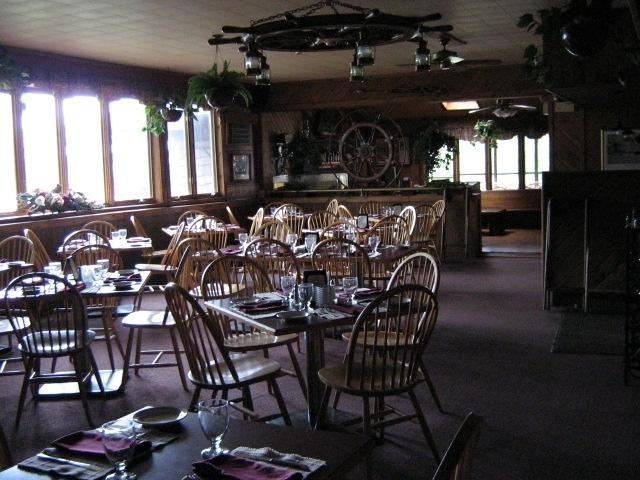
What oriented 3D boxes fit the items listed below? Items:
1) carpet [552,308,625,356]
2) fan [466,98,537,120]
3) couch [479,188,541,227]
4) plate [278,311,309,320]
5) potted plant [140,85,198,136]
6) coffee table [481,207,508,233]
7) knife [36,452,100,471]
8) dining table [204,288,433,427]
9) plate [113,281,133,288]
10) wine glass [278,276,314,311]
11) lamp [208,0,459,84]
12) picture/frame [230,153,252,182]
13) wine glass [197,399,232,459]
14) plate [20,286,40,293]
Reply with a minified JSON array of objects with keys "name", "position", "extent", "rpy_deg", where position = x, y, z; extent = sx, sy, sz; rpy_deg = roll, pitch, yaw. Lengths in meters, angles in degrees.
[{"name":"carpet","position":[2.536,0.865,4.794],"extent":[0.560,0.075,1.454],"rpy_deg":[0,5,29]},{"name":"fan","position":[4.373,-3.178,12.206],"extent":[1.508,0.327,1.365],"rpy_deg":[0,1,-1]},{"name":"couch","position":[5.011,-0.827,13.348],"extent":[1.536,0.695,0.488],"rpy_deg":[0,2,24]},{"name":"plate","position":[-0.151,0.418,2.818],"extent":[0.164,0.030,0.124],"rpy_deg":[-3,4,-9]},{"name":"potted plant","position":[-2.312,-1.913,7.686],"extent":[0.942,0.500,0.912],"rpy_deg":[-2,3,-24]},{"name":"coffee table","position":[4.276,-0.485,12.473],"extent":[0.814,0.629,0.727],"rpy_deg":[0,3,16]},{"name":"knife","position":[-0.729,0.649,1.483],"extent":[0.261,0.018,0.034],"rpy_deg":[1,4,18]},{"name":"dining table","position":[-0.060,0.738,3.157],"extent":[1.083,0.878,1.066],"rpy_deg":[1,3,36]},{"name":"plate","position":[-1.483,0.341,3.840],"extent":[0.125,0.047,0.118],"rpy_deg":[-4,5,-19]},{"name":"wine glass","position":[-0.145,0.321,2.989],"extent":[0.206,0.192,0.205],"rpy_deg":[-1,-3,-9]},{"name":"lamp","position":[0.124,-2.099,5.349],"extent":[1.923,0.558,1.812],"rpy_deg":[5,12,33]},{"name":"picture/frame","position":[-1.503,-1.394,9.763],"extent":[0.044,0.553,0.553],"rpy_deg":[1,6,30]},{"name":"wine glass","position":[-0.328,0.573,1.577],"extent":[0.091,0.149,0.207],"rpy_deg":[-4,5,-14]},{"name":"plate","position":[-1.987,0.346,3.491],"extent":[0.109,0.023,0.099],"rpy_deg":[2,3,3]}]
